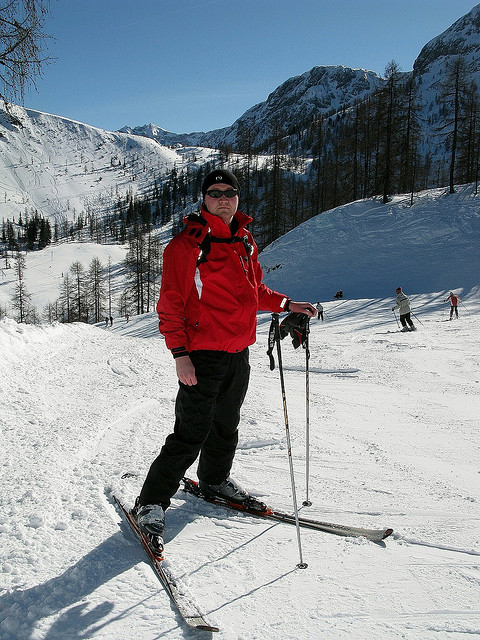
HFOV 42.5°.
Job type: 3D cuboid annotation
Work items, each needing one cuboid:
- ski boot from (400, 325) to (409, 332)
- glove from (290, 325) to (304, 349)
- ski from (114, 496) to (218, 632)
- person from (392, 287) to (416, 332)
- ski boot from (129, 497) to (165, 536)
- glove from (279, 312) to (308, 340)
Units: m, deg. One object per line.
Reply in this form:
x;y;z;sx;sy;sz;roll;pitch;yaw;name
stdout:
4.612;0.230;17.262;0.067;0.156;0.104;27;11;31;ski boot
0.375;0.119;4.251;0.078;0.140;0.105;2;4;-7;glove
-0.472;1.288;3.548;0.165;0.080;1.472;3;9;-26;ski
4.852;-0.350;18.176;0.632;1.221;2.747;3;3;15;person
-0.548;1.186;3.738;0.109;0.146;0.333;43;-11;-35;ski boot
0.365;0.032;4.303;0.150;0.107;0.197;-2;-24;-42;glove
